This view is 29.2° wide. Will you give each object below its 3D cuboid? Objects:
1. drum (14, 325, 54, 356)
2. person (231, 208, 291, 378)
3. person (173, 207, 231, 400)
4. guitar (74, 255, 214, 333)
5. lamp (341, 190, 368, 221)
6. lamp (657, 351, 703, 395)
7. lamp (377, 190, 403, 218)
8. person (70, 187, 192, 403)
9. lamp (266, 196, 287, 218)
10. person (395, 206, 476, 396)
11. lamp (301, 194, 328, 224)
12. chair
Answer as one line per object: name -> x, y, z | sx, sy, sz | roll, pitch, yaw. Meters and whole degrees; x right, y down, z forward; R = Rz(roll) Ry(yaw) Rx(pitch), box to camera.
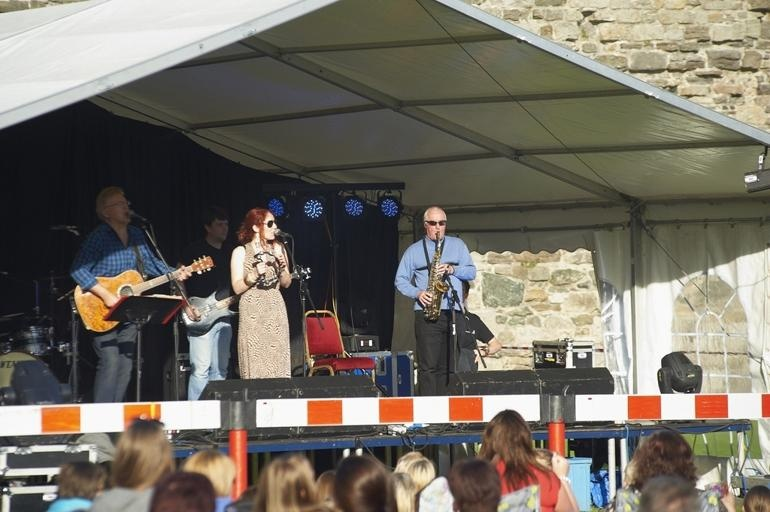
drum -> -3.893, 0.912, 15.959 | 0.374, 0.295, 0.342 | -1, -10, 0
person -> -1.303, 0.379, 15.160 | 0.615, 1.775, 0.487 | 0, -14, -5
person -> -2.054, 0.557, 16.194 | 0.750, 2.112, 0.628 | -1, 15, -8
guitar -> -2.730, 0.320, 15.640 | 1.620, 0.568, 0.175 | -23, 3, -27
lamp -> -0.387, -0.625, 17.909 | 0.333, 0.278, 0.100 | -6, 1, -27
lamp -> 3.355, 1.332, 16.200 | 0.529, 0.564, 0.415 | -8, 20, -23
lamp -> 0.083, -0.629, 17.862 | 0.200, 0.362, 0.288 | -10, -16, 34
person -> -2.642, 0.609, 15.598 | 1.333, 2.621, 0.730 | -5, 2, 7
lamp -> -1.313, -0.592, 17.631 | 0.222, 0.241, 0.143 | -3, -42, -14
person -> 0.653, 0.639, 16.007 | 1.003, 2.289, 0.808 | -1, 1, -36
lamp -> -0.824, -0.569, 17.716 | 0.368, 0.288, 0.179 | 10, -17, -41
chair -> -0.524, 1.068, 17.115 | 0.770, 0.899, 0.694 | 0, -4, 7
